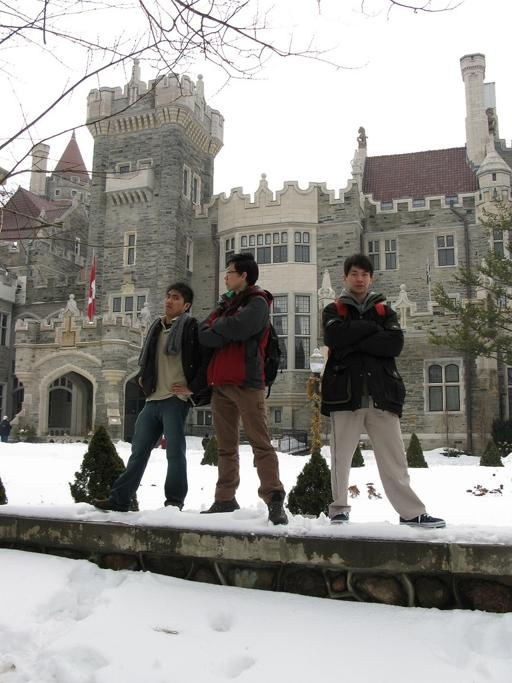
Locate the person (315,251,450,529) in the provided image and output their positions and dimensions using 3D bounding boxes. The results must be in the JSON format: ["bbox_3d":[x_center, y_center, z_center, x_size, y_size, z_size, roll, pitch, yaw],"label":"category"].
[{"bbox_3d":[0.772,0.386,4.097,0.705,1.829,1.074,0,11,5],"label":"person"}]

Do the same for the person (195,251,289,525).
[{"bbox_3d":[-0.107,0.408,4.364,0.579,1.939,1.194,-1,11,0],"label":"person"}]
